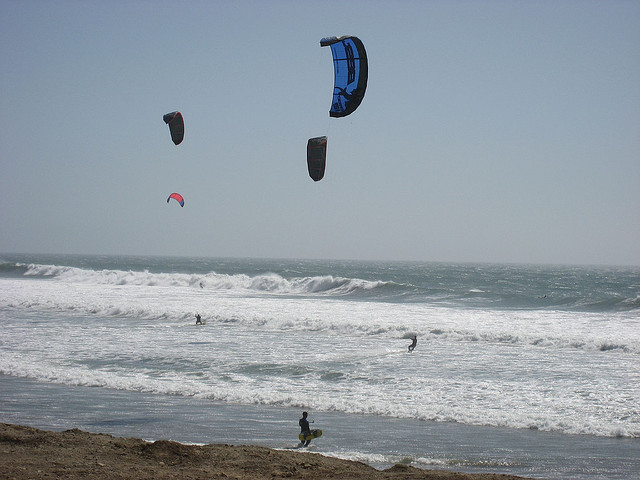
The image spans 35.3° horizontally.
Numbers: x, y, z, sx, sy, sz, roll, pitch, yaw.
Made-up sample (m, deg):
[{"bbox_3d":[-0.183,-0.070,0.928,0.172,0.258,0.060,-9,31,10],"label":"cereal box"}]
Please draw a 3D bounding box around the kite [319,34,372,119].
[{"bbox_3d":[0.798,-4.784,29.706,1.223,2.338,0.691,6,12,25],"label":"kite"}]

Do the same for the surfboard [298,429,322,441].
[{"bbox_3d":[-0.291,5.599,29.121,0.590,0.199,0.267,0,-9,-37],"label":"surfboard"}]

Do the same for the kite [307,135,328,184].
[{"bbox_3d":[-0.121,-2.717,33.590,0.572,1.392,0.779,0,11,-5],"label":"kite"}]

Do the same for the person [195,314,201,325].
[{"bbox_3d":[-5.302,3.343,43.537,0.200,0.381,0.950,0,12,-8],"label":"person"}]
